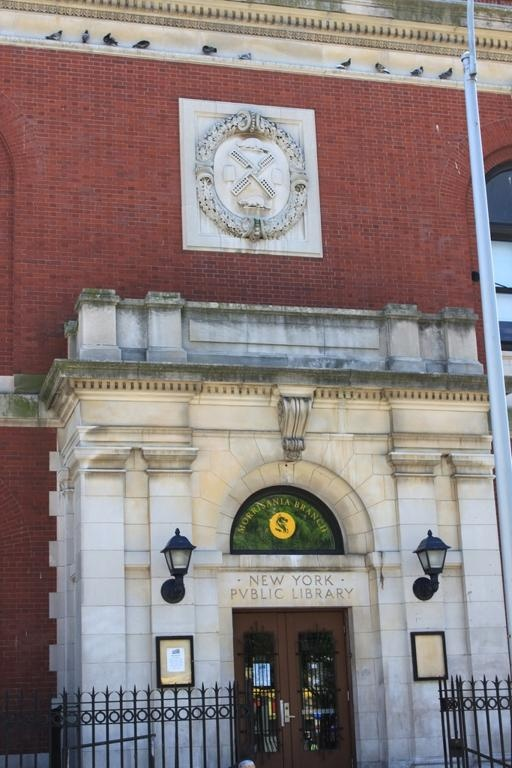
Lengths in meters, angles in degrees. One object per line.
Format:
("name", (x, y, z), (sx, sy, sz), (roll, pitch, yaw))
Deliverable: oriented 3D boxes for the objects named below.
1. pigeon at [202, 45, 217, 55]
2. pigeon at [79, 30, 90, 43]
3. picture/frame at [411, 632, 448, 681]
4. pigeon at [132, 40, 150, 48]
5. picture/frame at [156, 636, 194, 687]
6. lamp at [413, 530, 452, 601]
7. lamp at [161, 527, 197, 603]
("pigeon", (-0.722, -4.874, 22.548), (0.191, 0.139, 0.112), (2, -3, -38))
("pigeon", (-2.499, -4.973, 22.071), (0.107, 0.221, 0.185), (-3, -12, -30))
("picture/frame", (2.102, 3.408, 19.215), (0.529, 0.716, 0.070), (6, -22, -19))
("pigeon", (-1.718, -4.909, 22.300), (0.297, 0.124, 0.092), (2, 12, -5))
("picture/frame", (-1.007, 3.308, 18.313), (0.551, 0.727, 0.105), (3, -24, -19))
("lamp", (2.137, 2.254, 19.273), (0.452, 0.837, 0.344), (-13, -7, -12))
("lamp", (-0.971, 2.156, 18.447), (0.377, 0.839, 0.601), (-1, -21, -9))
